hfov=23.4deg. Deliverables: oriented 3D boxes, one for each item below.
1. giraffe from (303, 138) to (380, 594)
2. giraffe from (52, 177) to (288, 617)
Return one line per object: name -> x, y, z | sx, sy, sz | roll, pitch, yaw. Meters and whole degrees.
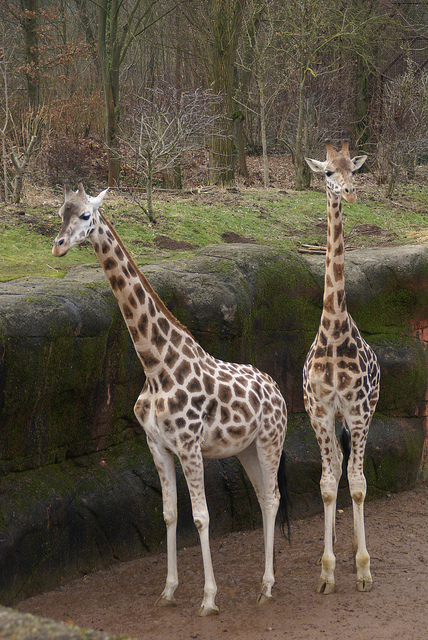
giraffe -> 1.024, 0.349, 8.397 | 0.602, 3.582, 0.832 | -1, 9, 8
giraffe -> -0.235, 0.566, 8.071 | 1.854, 3.382, 0.813 | -5, 9, -19
